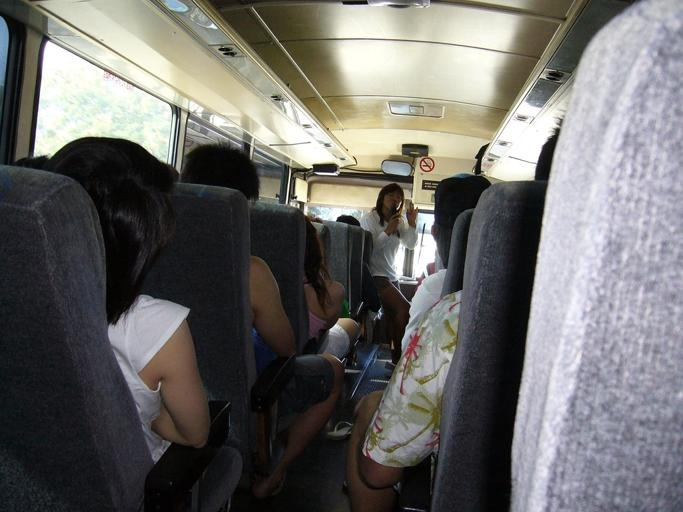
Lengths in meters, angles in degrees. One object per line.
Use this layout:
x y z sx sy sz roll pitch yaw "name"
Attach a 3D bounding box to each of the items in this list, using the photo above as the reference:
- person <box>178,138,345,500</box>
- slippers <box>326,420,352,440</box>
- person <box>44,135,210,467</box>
-0.455 0.280 2.113 0.744 1.261 0.769 7 17 8 "person"
-0.011 0.972 2.748 0.096 0.075 0.272 -1 -5 18 "slippers"
-0.469 0.133 1.102 0.331 0.778 0.168 -2 11 -33 "person"
